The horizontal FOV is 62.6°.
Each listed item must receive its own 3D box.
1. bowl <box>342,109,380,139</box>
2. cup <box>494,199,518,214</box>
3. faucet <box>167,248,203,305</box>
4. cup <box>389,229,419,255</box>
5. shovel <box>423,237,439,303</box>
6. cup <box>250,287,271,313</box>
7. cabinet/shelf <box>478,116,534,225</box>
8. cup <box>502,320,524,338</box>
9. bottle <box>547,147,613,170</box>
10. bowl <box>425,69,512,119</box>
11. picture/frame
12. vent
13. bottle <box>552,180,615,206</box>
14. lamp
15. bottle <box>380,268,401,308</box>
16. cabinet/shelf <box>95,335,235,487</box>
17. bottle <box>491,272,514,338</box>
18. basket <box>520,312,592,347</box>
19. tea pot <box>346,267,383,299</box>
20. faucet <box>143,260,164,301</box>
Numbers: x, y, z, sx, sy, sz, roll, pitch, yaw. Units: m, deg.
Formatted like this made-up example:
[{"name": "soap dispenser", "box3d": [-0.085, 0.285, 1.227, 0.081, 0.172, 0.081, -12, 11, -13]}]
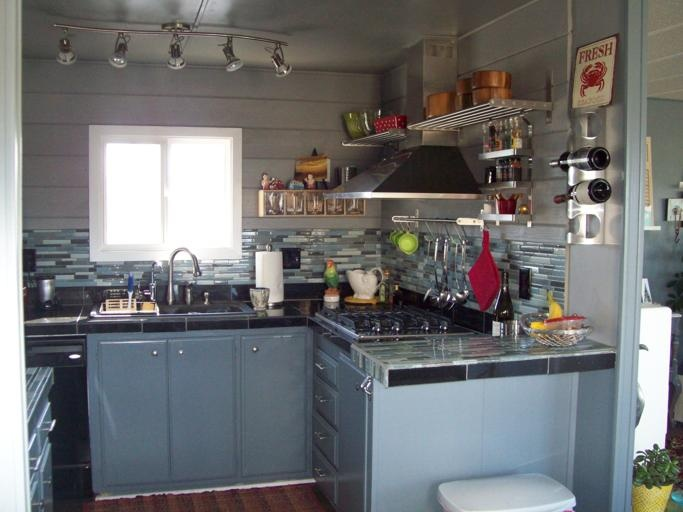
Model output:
[{"name": "bowl", "box3d": [0.147, -1.012, 4.536, 0.255, 0.193, 0.282, 0, -1, -25]}, {"name": "cup", "box3d": [0.921, -0.276, 3.172, 0.087, 0.087, 0.099, 2, -2, -19]}, {"name": "faucet", "box3d": [-1.217, 0.162, 4.310, 0.265, 0.440, 0.394, -4, 5, -17]}, {"name": "cup", "box3d": [0.454, -0.099, 4.171, 0.137, 0.165, 0.180, -6, 6, -37]}, {"name": "shovel", "box3d": [0.626, 0.119, 3.955, 0.128, 0.481, 0.465, -2, 5, 8]}, {"name": "cup", "box3d": [-0.607, 0.341, 4.228, 0.155, 0.172, 0.157, 0, 4, 0]}, {"name": "cabinet/shelf", "box3d": [0.898, -0.484, 3.264, 0.240, 0.633, 0.374, -5, 5, -25]}, {"name": "cup", "box3d": [0.953, 0.417, 3.202, 0.112, 0.120, 0.111, -1, -2, 0]}, {"name": "bottle", "box3d": [1.186, -0.475, 2.813, 0.092, 0.100, 0.315, -1, 4, -19]}, {"name": "bowl", "box3d": [0.741, -0.933, 3.268, 0.239, 0.204, 0.665, -5, 5, -25]}, {"name": "picture/frame", "box3d": [1.245, -0.898, 2.794, 0.066, 0.332, 0.223, -6, 6, -36]}, {"name": "vent", "box3d": [0.459, -0.809, 3.867, 0.647, 0.834, 0.875, -1, 6, -7]}, {"name": "bottle", "box3d": [1.200, -0.313, 2.828, 0.268, 0.129, 0.185, 0, 5, 32]}, {"name": "lamp", "box3d": [-1.122, -1.350, 3.831, 1.504, 0.312, 0.665, -4, 4, -8]}, {"name": "bottle", "box3d": [0.379, 0.258, 4.598, 0.174, 0.254, 0.297, -4, 5, -15]}, {"name": "cabinet/shelf", "box3d": [-1.244, 1.030, 3.814, 1.035, 1.048, 0.354, 0, 3, -10]}, {"name": "bottle", "box3d": [0.932, 0.279, 3.262, 0.124, 0.350, 0.260, -2, 5, 17]}, {"name": "basket", "box3d": [1.101, 0.387, 2.909, 0.333, 0.151, 0.233, -2, 5, 18]}, {"name": "tea pot", "box3d": [0.182, 0.231, 4.655, 0.286, 0.246, 0.349, -3, 4, -6]}, {"name": "faucet", "box3d": [-1.502, 0.208, 4.420, 0.167, 0.322, 0.145, 0, 5, 33]}]
